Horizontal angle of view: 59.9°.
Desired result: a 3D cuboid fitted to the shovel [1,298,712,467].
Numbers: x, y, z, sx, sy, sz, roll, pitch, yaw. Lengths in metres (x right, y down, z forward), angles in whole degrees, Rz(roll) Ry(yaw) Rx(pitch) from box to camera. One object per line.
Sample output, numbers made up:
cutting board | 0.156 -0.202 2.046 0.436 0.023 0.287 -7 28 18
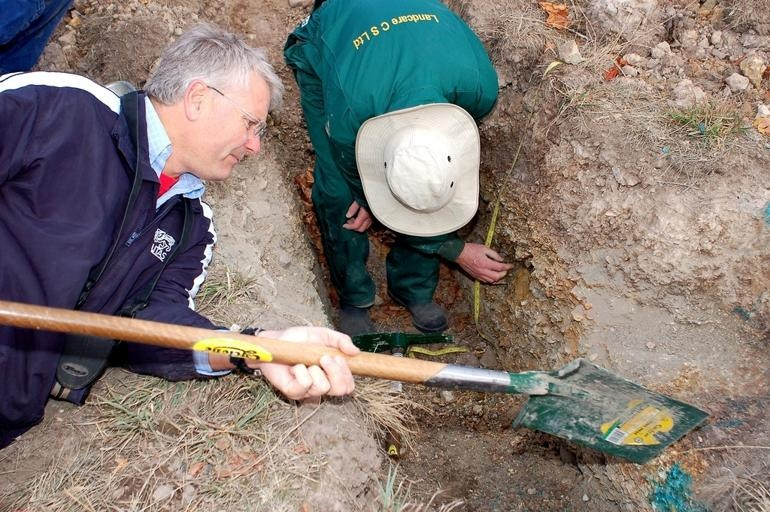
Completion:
shovel | 0.135 0.651 4.057 3.689 0.627 0.233 13 40 -6

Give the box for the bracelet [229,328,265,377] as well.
bracelet | -0.881 0.621 4.310 0.158 0.238 0.307 29 -1 -2
